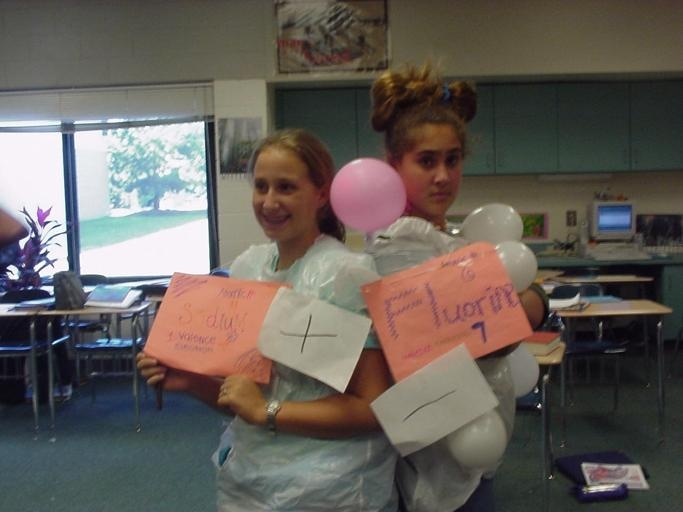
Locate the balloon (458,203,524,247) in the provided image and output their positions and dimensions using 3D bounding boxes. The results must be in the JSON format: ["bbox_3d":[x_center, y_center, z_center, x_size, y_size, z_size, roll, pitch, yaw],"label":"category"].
[{"bbox_3d":[0.672,-0.138,2.888,0.169,0.184,0.222,-9,-1,-43],"label":"balloon"}]

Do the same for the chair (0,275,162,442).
[{"bbox_3d":[-2.139,0.744,5.403,1.168,0.931,1.205,0,9,-5],"label":"chair"}]

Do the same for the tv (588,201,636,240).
[{"bbox_3d":[2.671,-0.338,6.357,0.353,0.392,0.379,0,-3,5],"label":"tv"}]

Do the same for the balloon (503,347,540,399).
[{"bbox_3d":[0.876,0.536,3.036,0.214,0.287,0.106,-10,-1,-42],"label":"balloon"}]

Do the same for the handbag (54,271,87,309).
[{"bbox_3d":[-2.096,0.268,4.931,0.235,0.336,0.179,5,9,30],"label":"handbag"}]

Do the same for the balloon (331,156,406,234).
[{"bbox_3d":[0.140,-0.262,2.840,0.298,0.433,0.286,-4,7,18],"label":"balloon"}]

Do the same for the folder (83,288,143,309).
[{"bbox_3d":[-1.790,0.321,5.010,0.213,0.072,0.230,1,25,11],"label":"folder"}]

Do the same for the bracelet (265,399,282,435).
[{"bbox_3d":[-0.281,0.656,2.623,0.070,0.122,0.110,6,-19,9],"label":"bracelet"}]

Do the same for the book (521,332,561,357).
[{"bbox_3d":[1.121,0.500,3.597,0.226,0.058,0.236,-1,8,19],"label":"book"}]

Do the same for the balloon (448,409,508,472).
[{"bbox_3d":[0.557,0.762,2.710,0.226,0.288,0.237,7,-13,1],"label":"balloon"}]
